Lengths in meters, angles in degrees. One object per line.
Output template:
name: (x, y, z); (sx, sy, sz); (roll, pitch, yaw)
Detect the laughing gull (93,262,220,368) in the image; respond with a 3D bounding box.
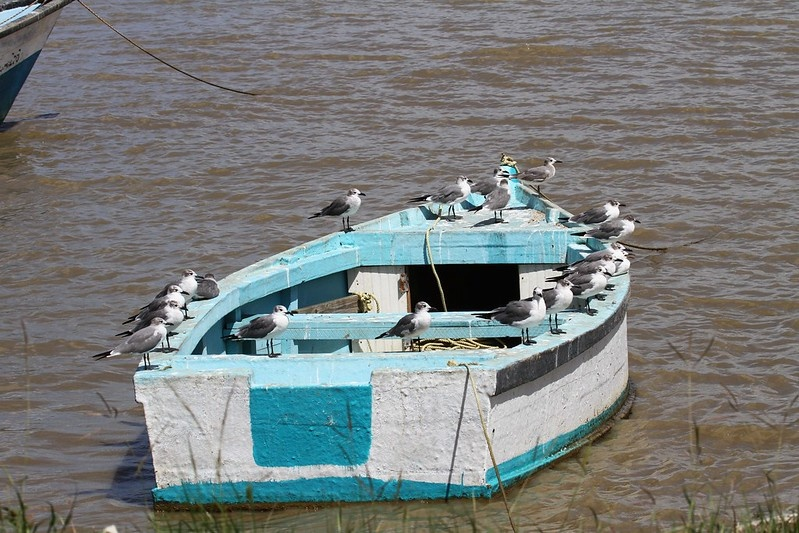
laughing gull: (-4.125, 0.950, 30.925); (3.408, 1.338, 1.070); (-7, 17, -38)

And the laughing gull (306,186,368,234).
laughing gull: (-1.119, -1.096, 34.963); (1.448, 0.639, 0.528); (-1, 4, 41)

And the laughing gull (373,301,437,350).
laughing gull: (-0.056, 1.045, 31.907); (1.443, 0.564, 0.544); (-6, -1, 12)
